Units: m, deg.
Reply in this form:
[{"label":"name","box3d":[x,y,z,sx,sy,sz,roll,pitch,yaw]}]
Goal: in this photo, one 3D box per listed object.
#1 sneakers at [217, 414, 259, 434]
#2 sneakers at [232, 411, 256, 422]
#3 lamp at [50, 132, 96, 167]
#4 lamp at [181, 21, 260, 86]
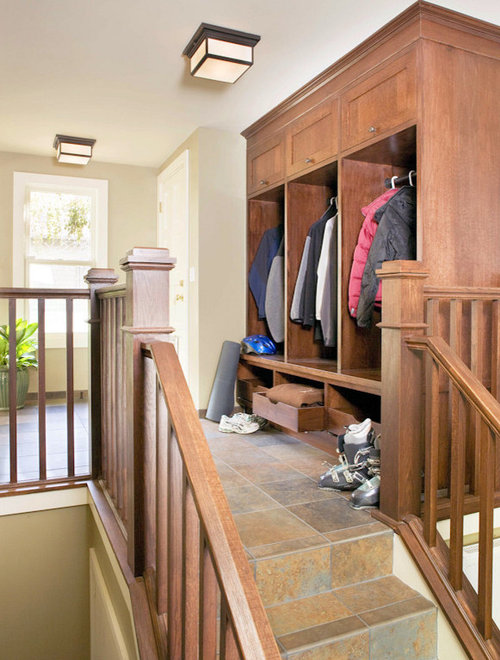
[{"label":"sneakers","box3d":[-0.087,0.618,3.541,0.276,0.135,0.114,1,-1,12]},{"label":"sneakers","box3d":[-0.053,0.582,3.579,0.169,0.082,0.060,-1,0,25]},{"label":"lamp","box3d":[-1.534,-1.576,4.613,0.344,0.217,0.345,0,15,-22]},{"label":"lamp","box3d":[-0.163,-1.490,2.875,0.417,0.165,0.407,2,5,36]}]
